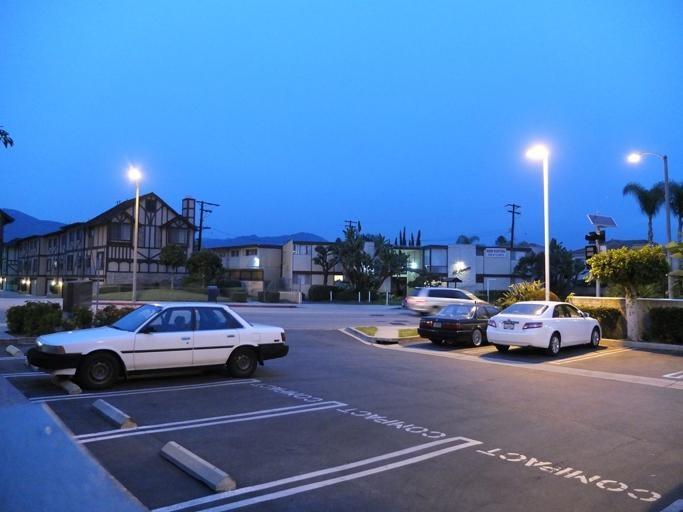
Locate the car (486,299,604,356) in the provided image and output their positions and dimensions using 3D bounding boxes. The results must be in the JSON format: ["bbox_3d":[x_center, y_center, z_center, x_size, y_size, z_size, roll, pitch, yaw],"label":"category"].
[{"bbox_3d":[6.539,2.148,18.218,3.350,1.227,1.537,1,-4,-40],"label":"car"}]

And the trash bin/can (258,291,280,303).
[{"bbox_3d":[-6.488,3.561,50.977,1.119,0.837,1.198,1,-5,-18],"label":"trash bin/can"}]

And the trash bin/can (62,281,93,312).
[{"bbox_3d":[-9.385,1.397,20.431,0.478,1.028,0.955,-3,-4,36],"label":"trash bin/can"}]

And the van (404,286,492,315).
[{"bbox_3d":[5.676,2.846,32.532,3.897,1.568,1.972,-5,-1,10],"label":"van"}]
